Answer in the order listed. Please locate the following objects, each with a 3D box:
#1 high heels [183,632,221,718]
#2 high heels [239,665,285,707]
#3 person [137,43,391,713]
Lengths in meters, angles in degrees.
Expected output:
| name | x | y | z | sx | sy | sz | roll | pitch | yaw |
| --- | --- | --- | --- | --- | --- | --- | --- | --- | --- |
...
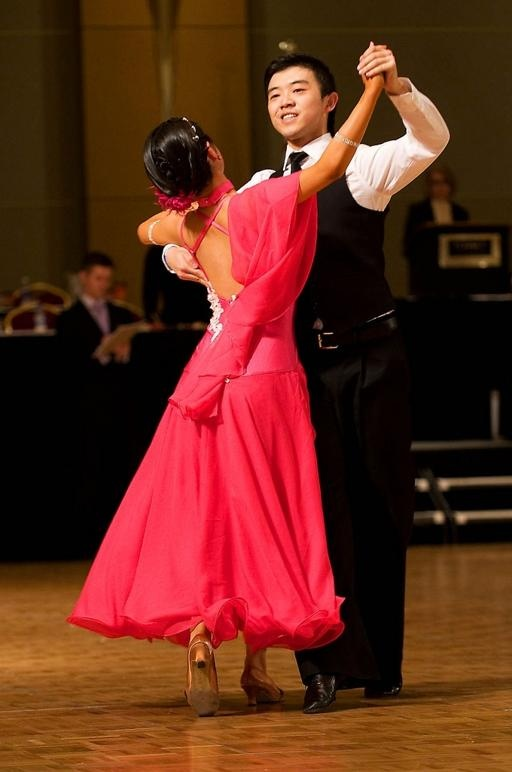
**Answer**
| name | x | y | z | sx | sy | sz | roll | pitch | yaw |
| --- | --- | --- | --- | --- | --- | --- | --- | --- | --- |
| high heels | -0.104 | 0.570 | 1.666 | 0.056 | 0.163 | 0.068 | -4 | -2 | -5 |
| high heels | 0.014 | 0.680 | 1.893 | 0.055 | 0.066 | 0.104 | -2 | -6 | 44 |
| person | 0.007 | 0.012 | 1.886 | 0.469 | 1.378 | 0.597 | -3 | 7 | -10 |
